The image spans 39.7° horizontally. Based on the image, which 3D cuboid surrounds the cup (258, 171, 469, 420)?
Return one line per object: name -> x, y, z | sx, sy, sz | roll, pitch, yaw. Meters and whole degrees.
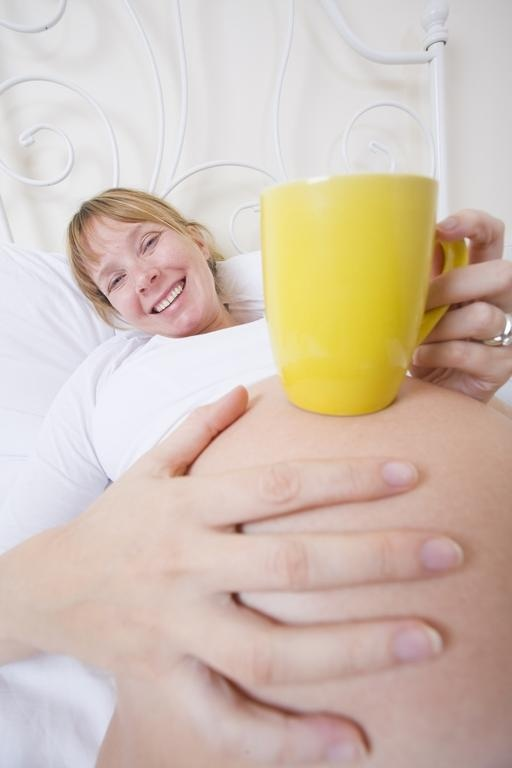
cup -> 0.089, -0.093, 0.675 | 0.252, 0.205, 0.149 | -12, 24, -8
